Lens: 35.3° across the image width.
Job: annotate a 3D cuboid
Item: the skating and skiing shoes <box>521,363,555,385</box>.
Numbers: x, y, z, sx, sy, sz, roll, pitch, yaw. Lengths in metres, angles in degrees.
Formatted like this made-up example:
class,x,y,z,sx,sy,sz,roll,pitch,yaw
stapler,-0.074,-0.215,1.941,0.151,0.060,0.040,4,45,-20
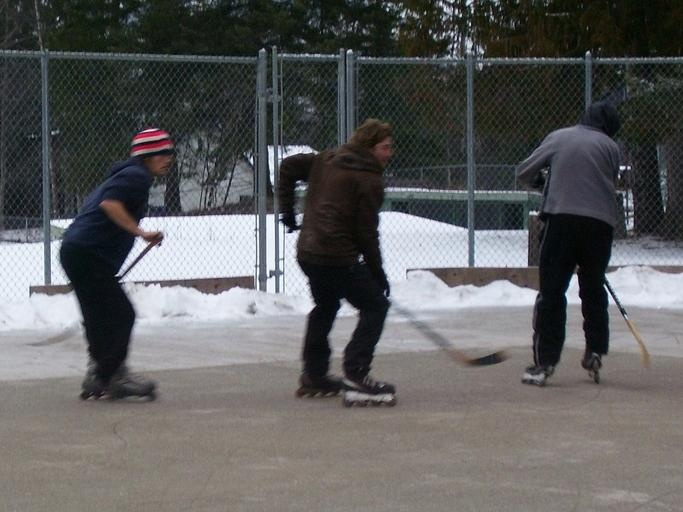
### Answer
class,x,y,z,sx,sy,sz,roll,pitch,yaw
skating and skiing shoes,1.560,0.930,8.459,0.286,0.153,0.116,-12,-12,30

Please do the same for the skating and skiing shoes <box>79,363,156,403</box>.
class,x,y,z,sx,sy,sz,roll,pitch,yaw
skating and skiing shoes,-1.666,0.960,8.095,0.555,0.241,0.216,0,1,-1

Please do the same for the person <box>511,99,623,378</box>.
class,x,y,z,sx,sy,sz,roll,pitch,yaw
person,1.787,-0.004,8.480,0.746,2.014,0.438,2,6,10
